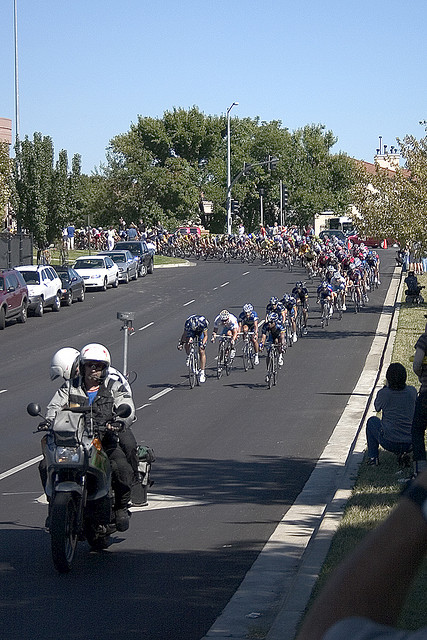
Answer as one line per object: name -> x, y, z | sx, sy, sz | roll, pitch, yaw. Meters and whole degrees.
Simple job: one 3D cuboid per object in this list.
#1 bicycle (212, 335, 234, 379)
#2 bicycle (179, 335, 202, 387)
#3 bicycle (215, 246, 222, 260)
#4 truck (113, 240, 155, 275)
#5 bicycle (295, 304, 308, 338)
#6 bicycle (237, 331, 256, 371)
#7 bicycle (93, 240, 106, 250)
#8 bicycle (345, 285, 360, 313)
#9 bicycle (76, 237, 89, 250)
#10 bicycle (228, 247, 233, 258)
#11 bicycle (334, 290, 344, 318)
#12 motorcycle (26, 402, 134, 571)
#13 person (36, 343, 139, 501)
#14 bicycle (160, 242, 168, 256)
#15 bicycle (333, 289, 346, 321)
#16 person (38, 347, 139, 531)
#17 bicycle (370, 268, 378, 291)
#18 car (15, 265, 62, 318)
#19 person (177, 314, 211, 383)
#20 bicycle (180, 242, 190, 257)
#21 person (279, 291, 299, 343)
bicycle -> 0.221, 0.610, 21.444 | 0.318, 0.718, 1.174 | -10, 10, 6
bicycle -> -0.417, 0.795, 20.004 | 0.409, 0.994, 1.108 | -2, 3, 2
bicycle -> 0.325, -3.880, 58.239 | 0.193, 0.586, 0.608 | 3, 37, -6
truck -> -3.595, -3.009, 47.050 | 1.163, 0.996, 2.121 | -1, -1, 9
bicycle -> 2.439, 0.008, 27.786 | 0.253, 0.857, 0.562 | -2, 3, 11
bicycle -> 0.767, 0.655, 22.316 | 0.458, 0.754, 1.236 | -8, 1, 8
bicycle -> -7.419, -4.854, 65.440 | 0.594, 0.658, 1.012 | -1, -1, -9
bicycle -> 4.746, -0.700, 33.798 | 0.337, 0.904, 0.840 | -2, 3, 7
bicycle -> -8.741, -4.956, 67.209 | 0.828, 1.130, 0.595 | 3, 11, 18
bicycle -> 0.986, -3.773, 56.767 | 0.172, 0.530, 0.466 | -3, 3, -15
bicycle -> 4.034, -0.479, 32.194 | 0.234, 0.848, 0.603 | -2, 3, 6
motorcycle -> -1.077, 1.288, 7.710 | 0.713, 1.305, 0.958 | 0, 4, 37
person -> -1.016, 0.691, 7.766 | 0.650, 0.792, 1.319 | -5, -5, 4
bicycle -> -3.102, -4.394, 63.863 | 0.144, 0.615, 0.492 | 8, -10, -29
bicycle -> 4.084, -0.499, 32.138 | 0.191, 0.927, 0.565 | -2, 3, 4
person -> -0.917, 0.960, 7.604 | 0.458, 0.977, 1.621 | -7, 9, 14
bicycle -> 6.548, -1.639, 41.101 | 0.281, 0.892, 1.432 | -2, 3, 9
car -> -6.036, -0.985, 33.370 | 1.434, 1.656, 3.379 | 1, 6, 6
person -> -0.332, 0.348, 20.461 | 0.589, 0.819, 1.256 | 0, 1, 5
bicycle -> -1.690, -4.191, 61.687 | 0.176, 0.700, 0.666 | -14, 14, -39
person -> 1.997, -0.254, 25.542 | 0.592, 0.795, 1.243 | -5, 9, 9
